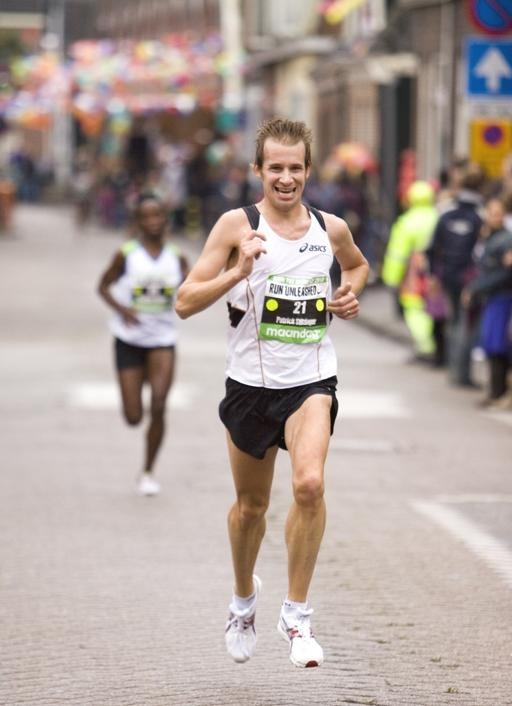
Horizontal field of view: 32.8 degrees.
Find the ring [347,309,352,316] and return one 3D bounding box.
[{"bbox_3d":[0.281,-0.127,2.654,0.014,0.018,0.012,-34,44,-28],"label":"ring"}]

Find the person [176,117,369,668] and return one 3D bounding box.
[{"bbox_3d":[0.022,0.124,2.594,0.539,1.613,0.834,1,13,6],"label":"person"}]

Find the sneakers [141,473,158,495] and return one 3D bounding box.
[{"bbox_3d":[-0.673,0.825,5.455,0.104,0.035,0.118,-1,41,-10],"label":"sneakers"}]

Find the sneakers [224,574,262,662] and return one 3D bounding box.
[{"bbox_3d":[-0.040,0.815,2.650,0.090,0.225,0.098,1,-7,3],"label":"sneakers"}]

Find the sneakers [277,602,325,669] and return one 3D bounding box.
[{"bbox_3d":[0.094,0.784,2.432,0.092,0.099,0.255,-1,9,-15],"label":"sneakers"}]
